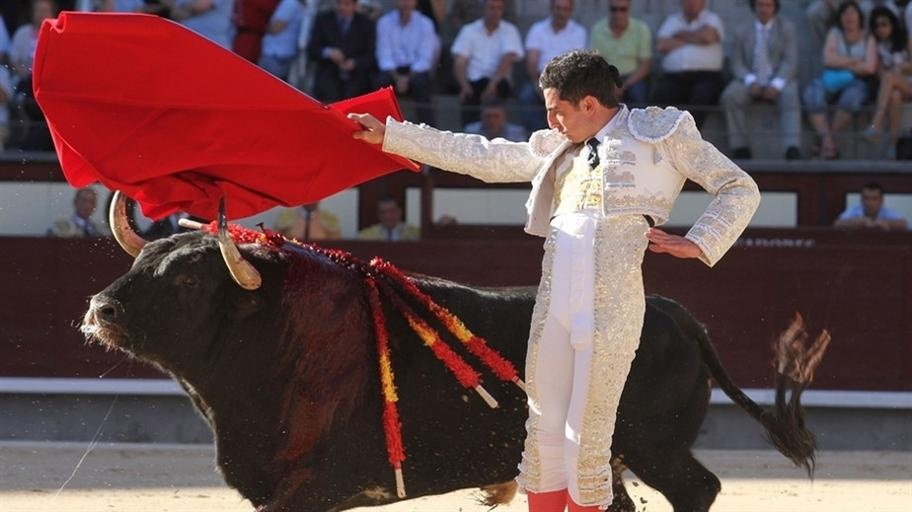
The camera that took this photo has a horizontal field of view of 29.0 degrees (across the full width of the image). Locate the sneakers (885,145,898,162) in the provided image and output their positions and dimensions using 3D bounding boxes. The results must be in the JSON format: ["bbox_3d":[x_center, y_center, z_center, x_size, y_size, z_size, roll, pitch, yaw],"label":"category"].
[{"bbox_3d":[2.846,-0.690,11.471,0.097,0.136,0.093,-1,-21,10],"label":"sneakers"}]

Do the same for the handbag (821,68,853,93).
[{"bbox_3d":[2.454,-1.149,11.299,0.169,0.187,0.081,7,26,-3],"label":"handbag"}]

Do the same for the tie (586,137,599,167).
[{"bbox_3d":[0.699,-0.536,8.908,0.037,0.127,0.098,2,-5,-6],"label":"tie"}]

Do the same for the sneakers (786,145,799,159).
[{"bbox_3d":[2.238,-0.692,11.616,0.104,0.108,0.143,2,12,11],"label":"sneakers"}]
